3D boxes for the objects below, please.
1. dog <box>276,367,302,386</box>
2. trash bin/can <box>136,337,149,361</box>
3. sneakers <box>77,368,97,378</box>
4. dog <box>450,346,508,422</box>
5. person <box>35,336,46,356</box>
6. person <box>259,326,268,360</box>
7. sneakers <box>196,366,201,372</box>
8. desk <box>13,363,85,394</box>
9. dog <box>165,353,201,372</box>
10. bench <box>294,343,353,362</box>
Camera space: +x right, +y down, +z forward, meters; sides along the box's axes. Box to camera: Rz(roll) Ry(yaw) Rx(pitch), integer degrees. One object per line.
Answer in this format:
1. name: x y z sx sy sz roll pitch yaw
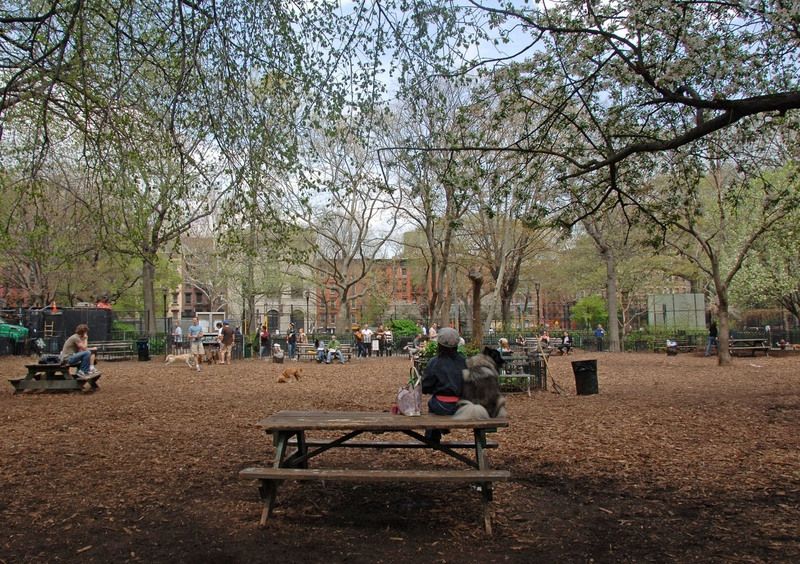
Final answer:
1. dog: -3.555 3.051 22.395 0.983 0.558 0.281 -4 6 -34
2. trash bin/can: -11.964 3.166 32.183 0.482 1.014 0.385 -1 2 -16
3. sneakers: -8.259 2.426 18.179 0.534 0.241 0.186 0 1 -20
4. dog: 1.147 1.381 9.350 0.750 0.999 0.848 -1 2 -44
5. person: -16.901 3.074 32.552 0.402 0.888 1.654 -1 2 -29
6. person: -7.639 3.356 38.947 0.543 1.542 2.333 -1 2 -12
7. sneakers: -7.870 3.410 26.905 0.136 0.281 0.169 -10 -6 23
8. desk: -9.126 2.516 18.010 1.680 0.796 0.859 -1 2 -18
9. dog: -8.851 3.330 28.202 1.359 0.687 0.417 18 3 1
10. bench: -3.942 3.697 35.485 2.666 0.957 4.108 0 1 -8
